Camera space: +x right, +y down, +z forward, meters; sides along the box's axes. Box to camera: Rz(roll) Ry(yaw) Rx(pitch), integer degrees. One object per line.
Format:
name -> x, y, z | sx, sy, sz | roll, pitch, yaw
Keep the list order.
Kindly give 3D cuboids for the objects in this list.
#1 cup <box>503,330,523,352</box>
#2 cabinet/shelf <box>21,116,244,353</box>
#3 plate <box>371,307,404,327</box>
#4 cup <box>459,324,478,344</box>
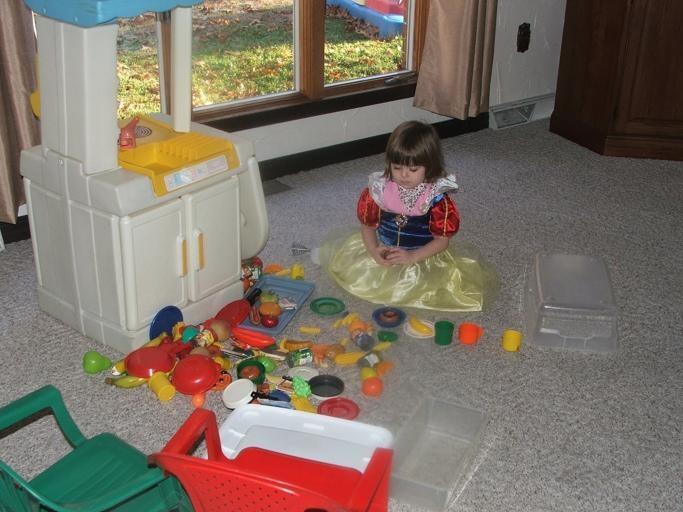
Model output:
cup -> 0.558, 0.275, 1.755 | 0.062, 0.058, 0.053 | 4, 65, 33
cabinet/shelf -> -0.681, -0.123, 1.952 | 0.650, 0.701, 0.652 | 20, 32, 27
plate -> 0.165, 0.207, 1.873 | 0.070, 0.026, 0.071 | 12, 30, 31
cup -> 0.419, 0.254, 1.766 | 0.065, 0.048, 0.049 | -5, 11, -36
